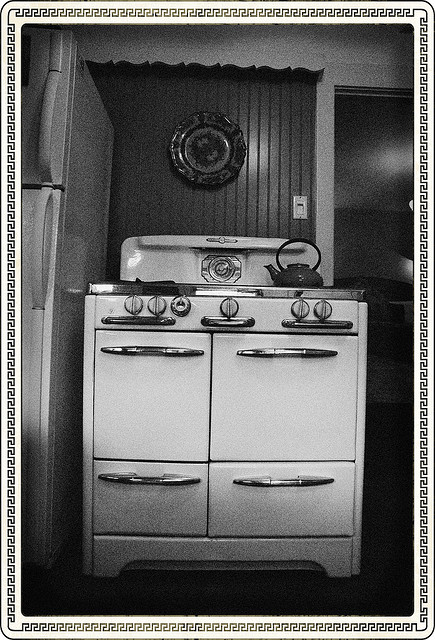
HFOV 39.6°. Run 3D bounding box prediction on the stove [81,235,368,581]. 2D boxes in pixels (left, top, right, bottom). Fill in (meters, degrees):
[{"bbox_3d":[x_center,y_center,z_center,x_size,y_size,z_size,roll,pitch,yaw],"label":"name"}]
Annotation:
[{"bbox_3d":[0.020,0.246,1.969,0.642,0.951,0.800,0,1,-1],"label":"stove"}]
